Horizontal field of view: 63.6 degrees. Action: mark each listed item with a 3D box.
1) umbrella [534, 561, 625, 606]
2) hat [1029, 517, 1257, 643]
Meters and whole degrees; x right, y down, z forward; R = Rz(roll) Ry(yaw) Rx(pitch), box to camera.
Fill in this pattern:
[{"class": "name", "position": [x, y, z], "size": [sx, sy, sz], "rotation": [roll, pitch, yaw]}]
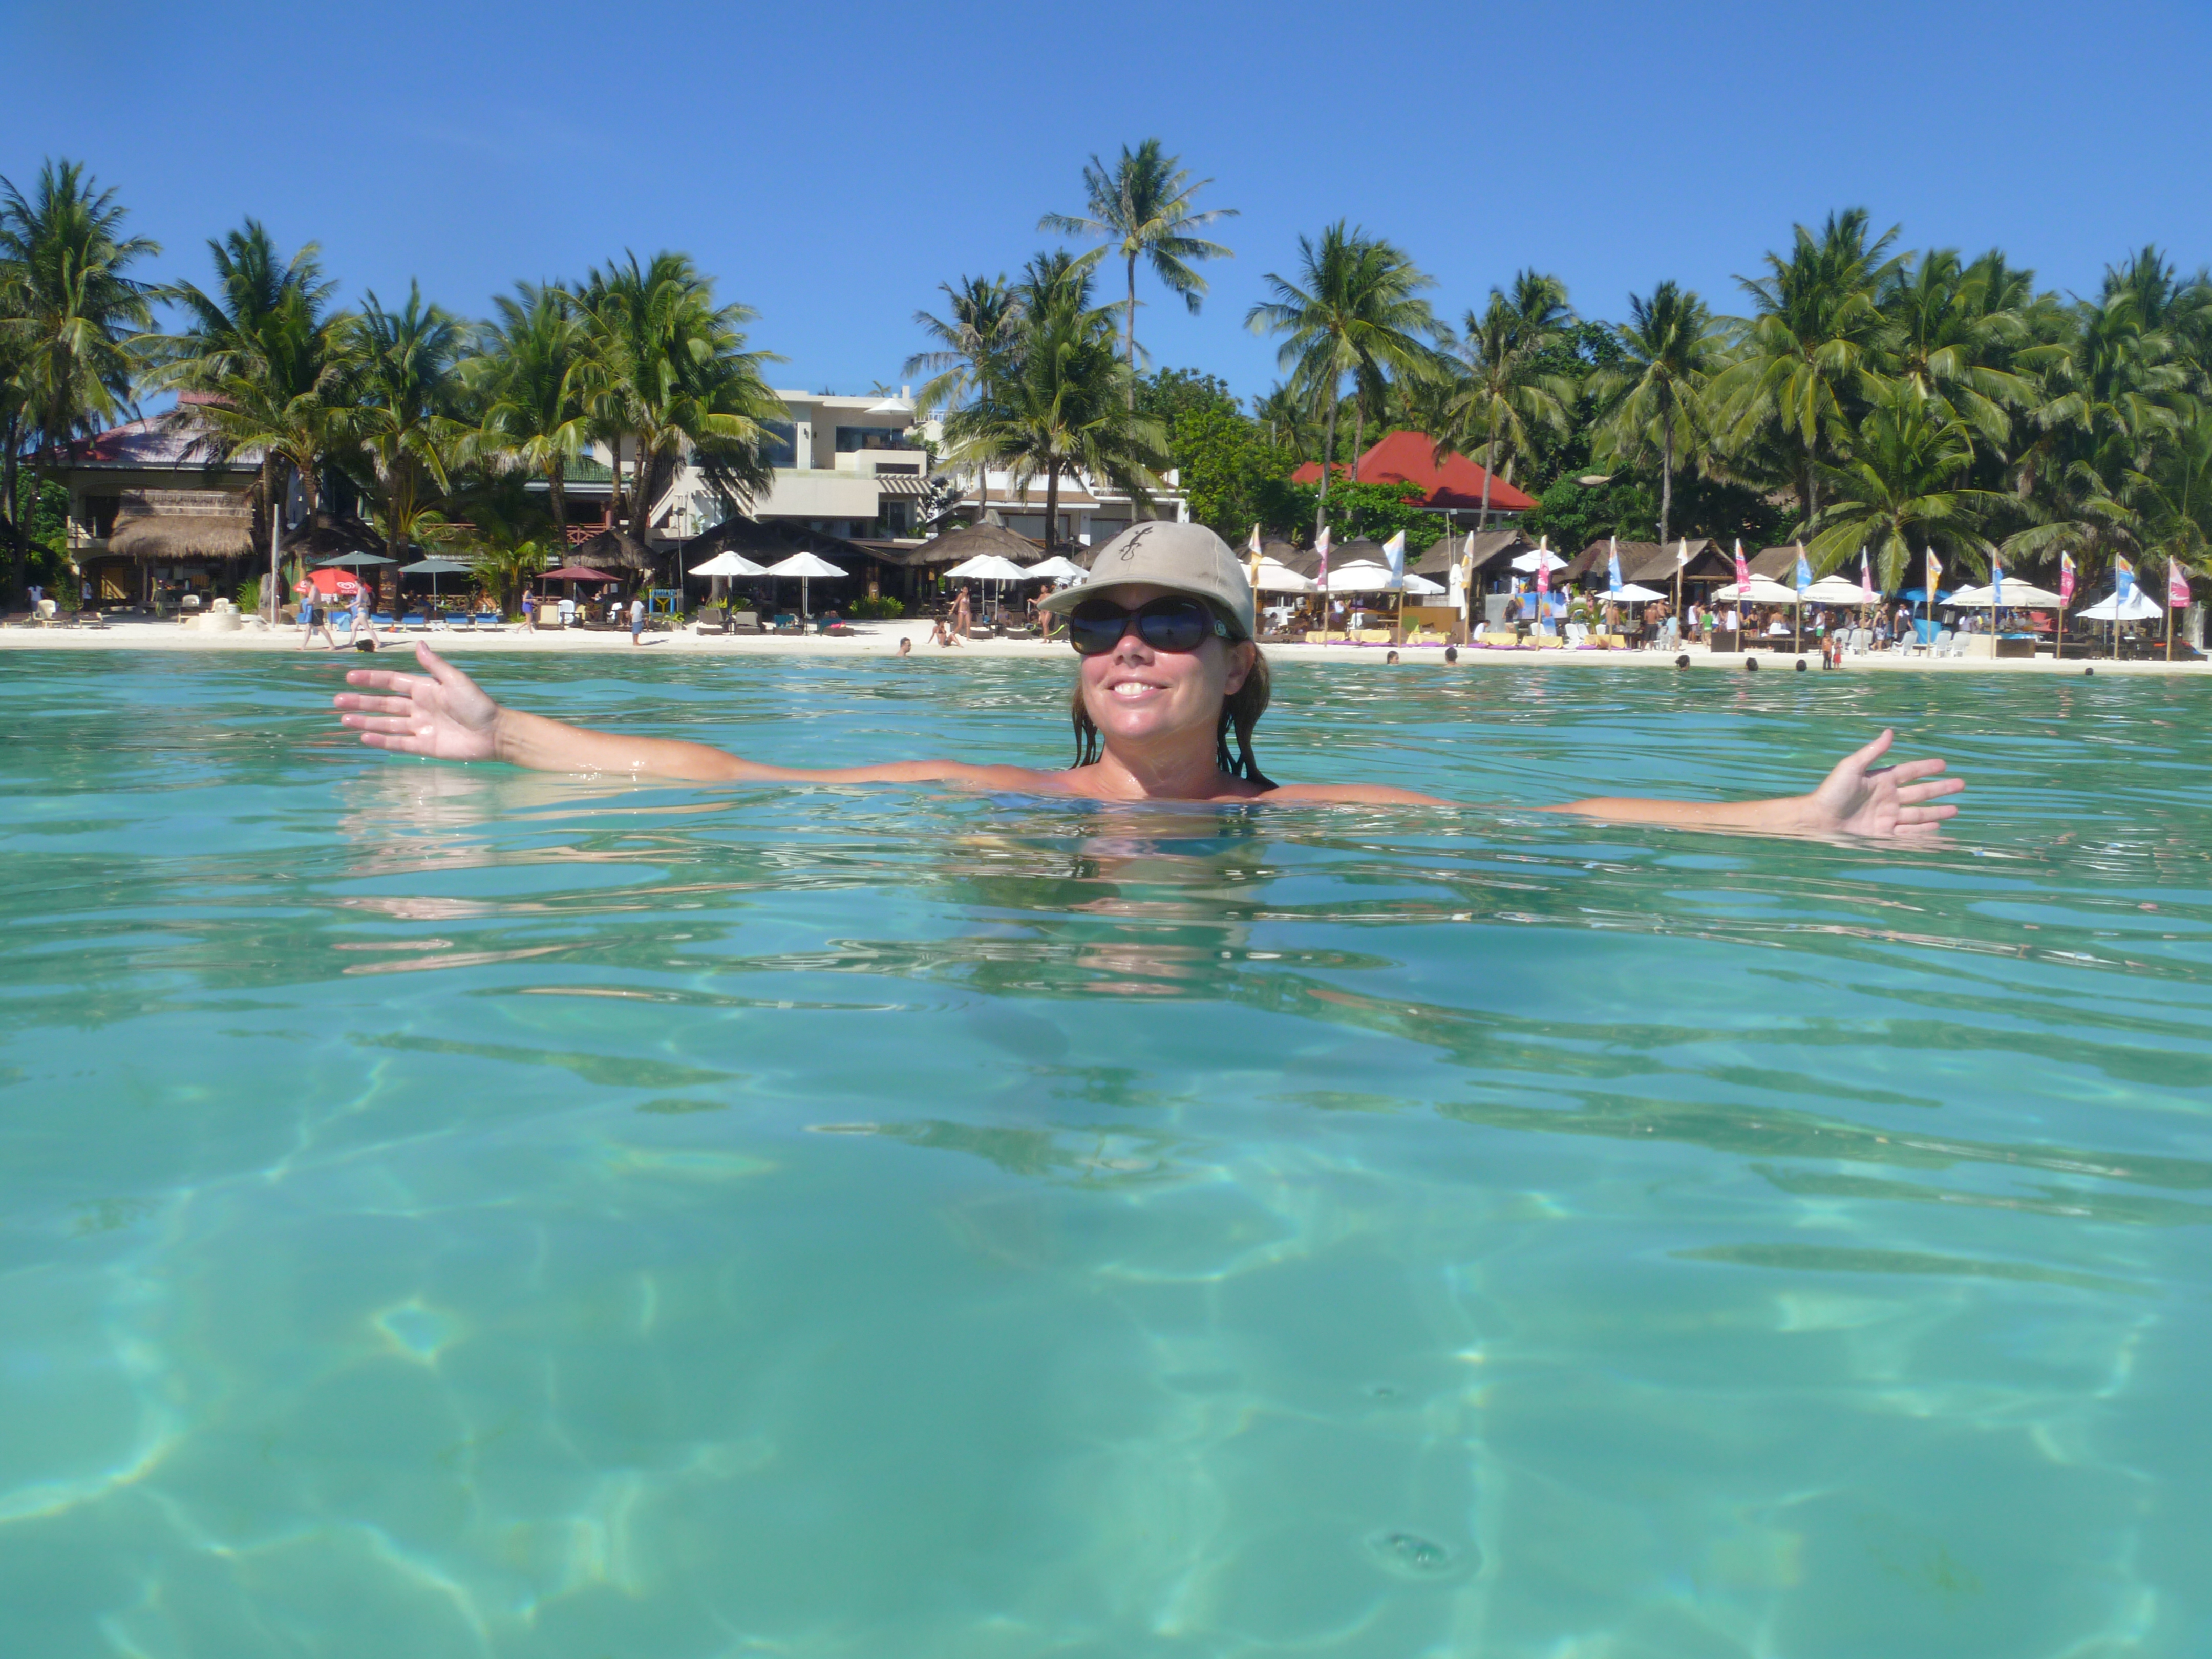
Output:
[{"class": "umbrella", "position": [-14.381, -6.837, 48.237], "size": [1.592, 0.659, 1.570], "rotation": [0, 5, 1]}, {"class": "hat", "position": [0.118, -0.797, 5.263], "size": [0.417, 0.240, 0.526], "rotation": [1, 0, 11]}]
